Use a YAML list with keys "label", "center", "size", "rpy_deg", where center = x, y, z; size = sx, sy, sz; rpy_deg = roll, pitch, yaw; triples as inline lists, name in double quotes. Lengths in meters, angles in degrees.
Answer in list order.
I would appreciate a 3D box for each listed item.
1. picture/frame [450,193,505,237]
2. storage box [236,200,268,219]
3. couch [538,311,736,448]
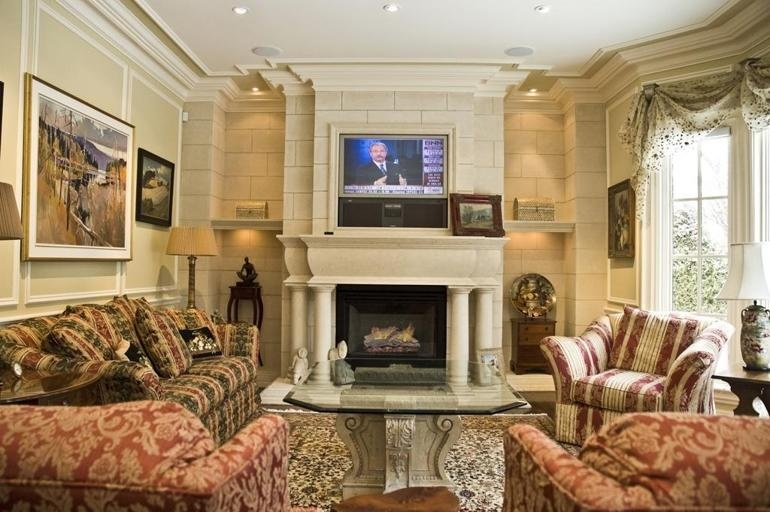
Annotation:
- label: "picture/frame"
  center: [1.028, -0.450, 6.112]
  size: [0.542, 0.442, 0.070]
  rpy_deg: [1, -10, -6]
- label: "storage box"
  center: [-1.649, -0.566, 6.765]
  size: [0.391, 0.256, 0.240]
  rpy_deg: [1, 4, 0]
- label: "couch"
  center: [2.242, 0.945, 4.826]
  size: [1.331, 1.324, 1.600]
  rpy_deg: [15, -15, -38]
